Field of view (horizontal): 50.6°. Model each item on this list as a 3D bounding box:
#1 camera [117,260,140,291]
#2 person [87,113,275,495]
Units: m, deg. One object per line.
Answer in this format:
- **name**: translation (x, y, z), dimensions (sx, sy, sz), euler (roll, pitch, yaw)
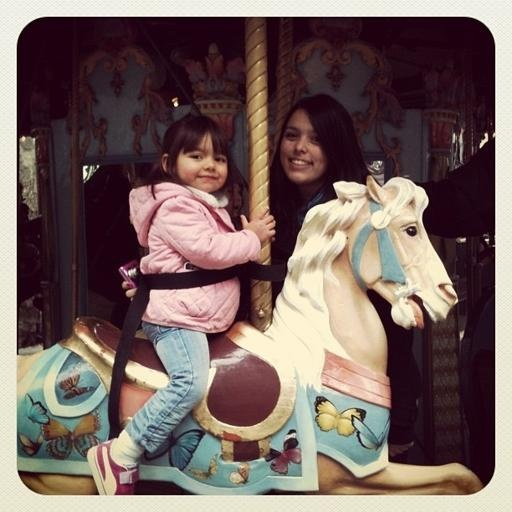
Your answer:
- **camera**: translation (-0.385, 0.051, 1.644), dimensions (0.044, 0.095, 0.030), euler (-18, 4, 18)
- **person**: translation (-0.236, 0.105, 2.385), dimensions (0.784, 2.092, 0.724), euler (-1, -1, -15)
